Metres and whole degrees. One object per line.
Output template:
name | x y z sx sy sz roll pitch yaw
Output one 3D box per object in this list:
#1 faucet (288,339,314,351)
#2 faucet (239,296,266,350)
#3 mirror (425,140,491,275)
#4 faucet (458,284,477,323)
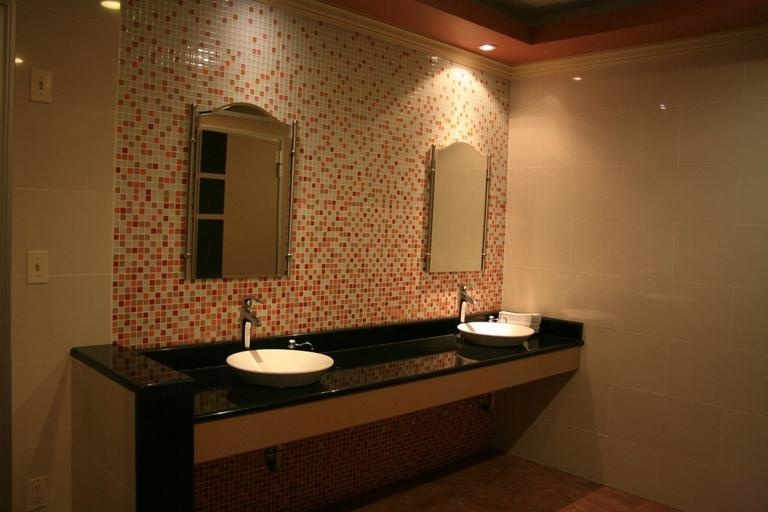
faucet | -0.546 0.586 3.723 0.186 0.078 0.067 3 0 25
faucet | -0.812 0.411 3.473 0.137 0.334 0.291 0 3 -12
mirror | 0.585 -0.376 4.493 0.627 1.014 0.049 -2 4 -36
faucet | 0.643 0.389 4.427 0.145 0.324 0.051 -1 22 -6
